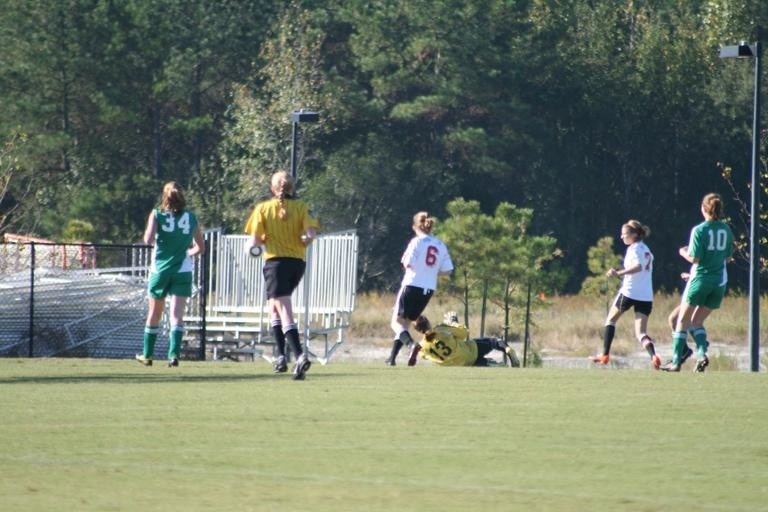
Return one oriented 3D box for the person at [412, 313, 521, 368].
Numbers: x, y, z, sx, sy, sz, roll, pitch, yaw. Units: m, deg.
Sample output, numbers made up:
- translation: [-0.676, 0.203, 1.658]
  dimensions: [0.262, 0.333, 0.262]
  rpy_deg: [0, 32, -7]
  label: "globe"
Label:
- translation: [2.459, 2.922, 57.723]
  dimensions: [3.261, 1.549, 0.696]
  rpy_deg: [1, -4, -3]
  label: "person"
